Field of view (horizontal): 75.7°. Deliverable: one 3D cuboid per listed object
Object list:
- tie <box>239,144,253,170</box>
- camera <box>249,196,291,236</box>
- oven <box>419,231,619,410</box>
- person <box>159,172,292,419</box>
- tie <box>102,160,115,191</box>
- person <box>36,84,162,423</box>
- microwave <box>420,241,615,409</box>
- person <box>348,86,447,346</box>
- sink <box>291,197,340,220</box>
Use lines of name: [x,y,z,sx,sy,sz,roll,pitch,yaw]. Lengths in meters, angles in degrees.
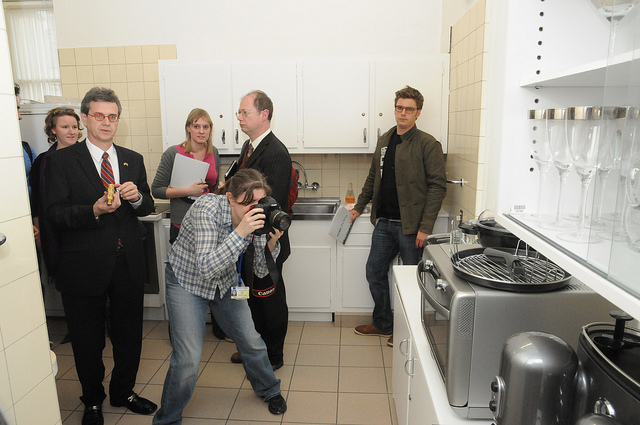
tie: [-0.524,-0.431,3.005,0.046,0.014,0.330,26,50,-11]
camera: [-0.250,0.014,2.213,0.221,0.162,0.204,18,29,40]
oven: [0.715,0.305,1.622,0.513,0.439,0.761,1,7,5]
person: [-0.582,0.527,2.531,0.787,1.595,0.646,-1,14,-5]
tie: [-1.331,-0.241,2.584,0.063,0.174,0.086,-5,15,-21]
person: [-1.553,0.214,2.852,0.759,2.064,1.300,-8,16,-28]
microwave: [0.746,0.346,1.631,0.531,0.500,0.786,1,5,2]
person: [0.681,0.024,3.444,0.662,2.038,0.464,4,15,17]
sink: [-0.050,-0.032,3.830,0.457,0.143,0.632,1,15,3]
